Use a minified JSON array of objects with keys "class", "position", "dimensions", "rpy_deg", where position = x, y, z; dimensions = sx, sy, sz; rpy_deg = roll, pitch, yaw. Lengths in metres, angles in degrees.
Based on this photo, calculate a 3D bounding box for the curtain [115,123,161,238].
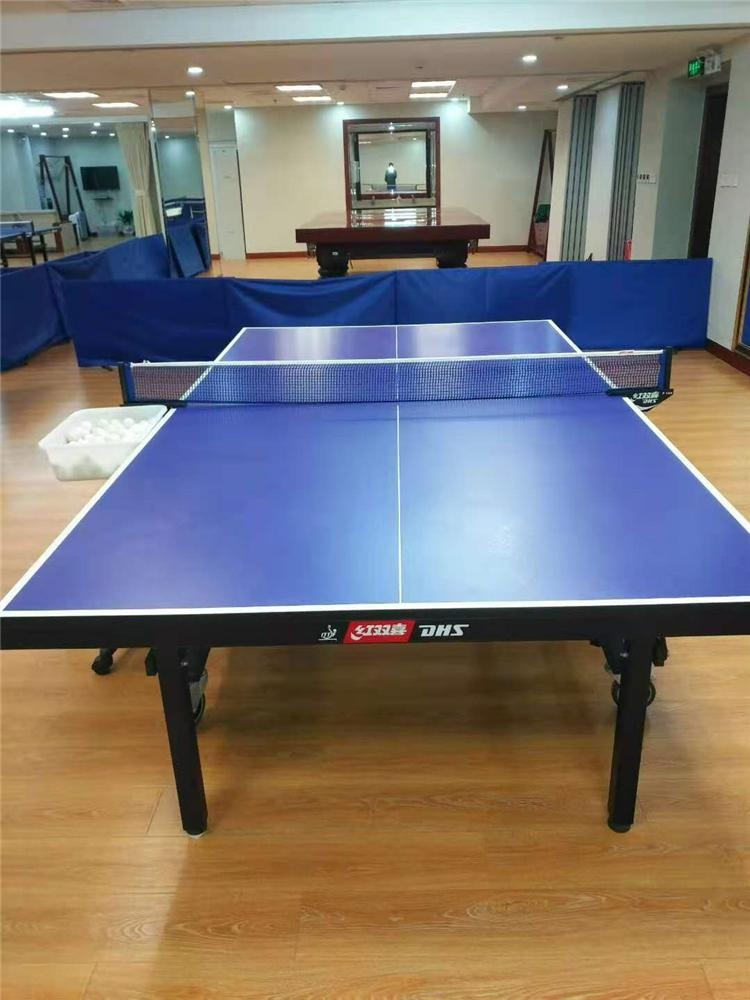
[{"class":"curtain","position":[-3.943,-5.183,13.240],"dimensions":[0.483,1.596,0.149],"rpy_deg":[5,23,17]}]

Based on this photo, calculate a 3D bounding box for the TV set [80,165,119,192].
[{"class":"TV set","position":[-5.681,-6.587,16.288],"dimensions":[0.860,0.490,0.290],"rpy_deg":[5,26,12]}]

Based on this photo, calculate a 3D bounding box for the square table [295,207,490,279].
[{"class":"square table","position":[0.307,-3.059,9.440],"dimensions":[1.921,0.660,2.211],"rpy_deg":[1,25,4]}]
